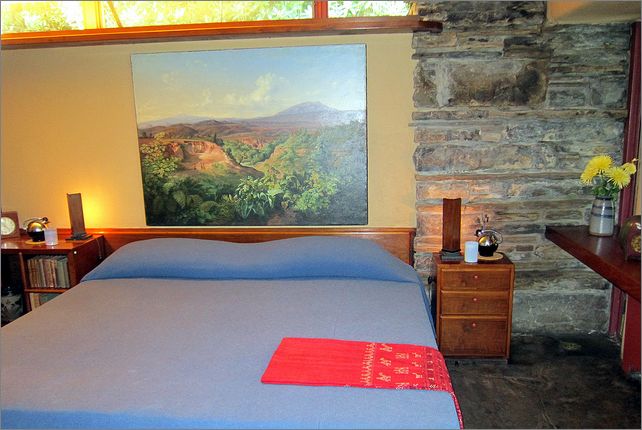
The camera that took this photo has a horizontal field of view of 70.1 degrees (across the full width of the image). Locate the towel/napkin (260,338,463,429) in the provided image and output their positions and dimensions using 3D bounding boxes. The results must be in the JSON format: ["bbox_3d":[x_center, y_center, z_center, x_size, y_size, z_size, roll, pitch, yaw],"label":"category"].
[{"bbox_3d":[0.221,0.938,2.617,1.021,0.203,0.474,-1,21,3],"label":"towel/napkin"}]

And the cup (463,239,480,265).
[{"bbox_3d":[1.154,0.282,3.507,0.162,0.148,0.147,0,0,-1],"label":"cup"}]

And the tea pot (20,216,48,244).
[{"bbox_3d":[-2.537,0.133,4.032,0.289,0.215,0.200,-1,10,-22],"label":"tea pot"}]

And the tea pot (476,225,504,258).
[{"bbox_3d":[1.334,0.215,3.628,0.192,0.207,0.244,-10,6,-39],"label":"tea pot"}]

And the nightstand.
[{"bbox_3d":[1.125,0.759,3.764,0.806,0.750,0.708,2,-1,16],"label":"nightstand"}]

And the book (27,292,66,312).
[{"bbox_3d":[-2.438,0.722,4.010,0.292,0.058,0.263,-1,1,1],"label":"book"}]

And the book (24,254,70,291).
[{"bbox_3d":[-2.334,0.491,3.910,0.337,0.264,0.171,3,9,5],"label":"book"}]

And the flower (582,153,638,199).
[{"bbox_3d":[2.183,-0.298,3.580,0.458,0.379,0.360,4,5,2],"label":"flower"}]

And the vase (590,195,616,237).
[{"bbox_3d":[2.154,0.008,3.497,0.161,0.297,0.129,5,16,28],"label":"vase"}]
